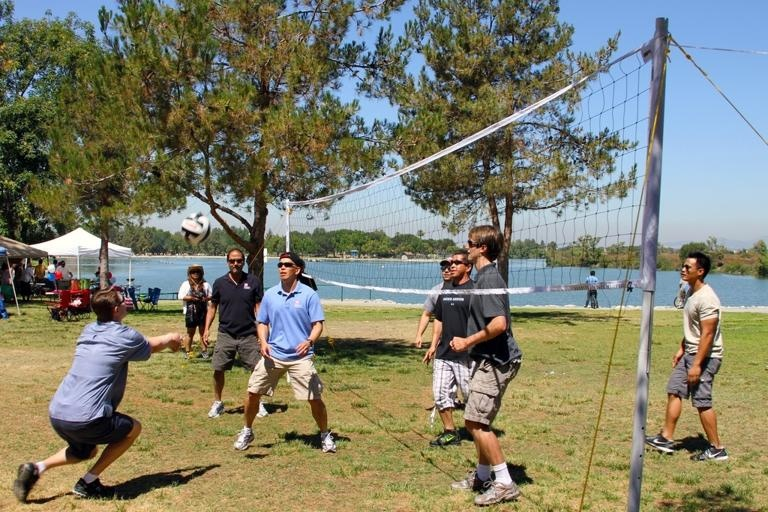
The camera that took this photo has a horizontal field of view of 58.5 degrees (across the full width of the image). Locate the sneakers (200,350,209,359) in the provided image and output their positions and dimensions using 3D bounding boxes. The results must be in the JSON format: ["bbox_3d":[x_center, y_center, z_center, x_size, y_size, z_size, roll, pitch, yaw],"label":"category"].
[{"bbox_3d":[-3.918,2.172,14.879,0.112,0.147,0.315,0,-7,-15],"label":"sneakers"}]

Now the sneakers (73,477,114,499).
[{"bbox_3d":[-3.762,3.000,8.907,0.576,0.297,0.226,7,0,-24],"label":"sneakers"}]

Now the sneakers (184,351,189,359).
[{"bbox_3d":[-4.291,2.183,14.773,0.084,0.188,0.259,1,-17,-7],"label":"sneakers"}]

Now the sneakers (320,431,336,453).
[{"bbox_3d":[-0.831,2.754,10.067,0.148,0.171,0.358,1,-5,-16],"label":"sneakers"}]

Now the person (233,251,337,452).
[{"bbox_3d":[-1.428,1.415,9.987,1.391,2.879,0.702,0,9,-4],"label":"person"}]

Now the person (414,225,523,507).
[{"bbox_3d":[1.329,1.411,8.964,0.870,3.528,0.952,0,9,0],"label":"person"}]

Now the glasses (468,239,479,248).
[{"bbox_3d":[1.178,-0.140,9.072,0.101,0.033,0.100,29,0,-12],"label":"glasses"}]

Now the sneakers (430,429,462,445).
[{"bbox_3d":[0.923,2.750,10.346,0.541,0.262,0.186,1,-3,-9],"label":"sneakers"}]

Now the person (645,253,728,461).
[{"bbox_3d":[4.574,1.414,10.016,0.946,2.912,1.007,5,11,28],"label":"person"}]

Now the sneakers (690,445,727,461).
[{"bbox_3d":[4.667,2.857,9.880,0.532,0.236,0.210,-1,-8,7],"label":"sneakers"}]

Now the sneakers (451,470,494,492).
[{"bbox_3d":[1.162,3.000,9.106,0.584,0.276,0.217,2,-5,5],"label":"sneakers"}]

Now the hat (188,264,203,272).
[{"bbox_3d":[-4.028,0.290,14.466,0.242,0.089,0.189,-4,1,-4],"label":"hat"}]

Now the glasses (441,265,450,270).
[{"bbox_3d":[0.969,0.208,10.901,0.070,0.076,0.024,-6,-5,21],"label":"glasses"}]
